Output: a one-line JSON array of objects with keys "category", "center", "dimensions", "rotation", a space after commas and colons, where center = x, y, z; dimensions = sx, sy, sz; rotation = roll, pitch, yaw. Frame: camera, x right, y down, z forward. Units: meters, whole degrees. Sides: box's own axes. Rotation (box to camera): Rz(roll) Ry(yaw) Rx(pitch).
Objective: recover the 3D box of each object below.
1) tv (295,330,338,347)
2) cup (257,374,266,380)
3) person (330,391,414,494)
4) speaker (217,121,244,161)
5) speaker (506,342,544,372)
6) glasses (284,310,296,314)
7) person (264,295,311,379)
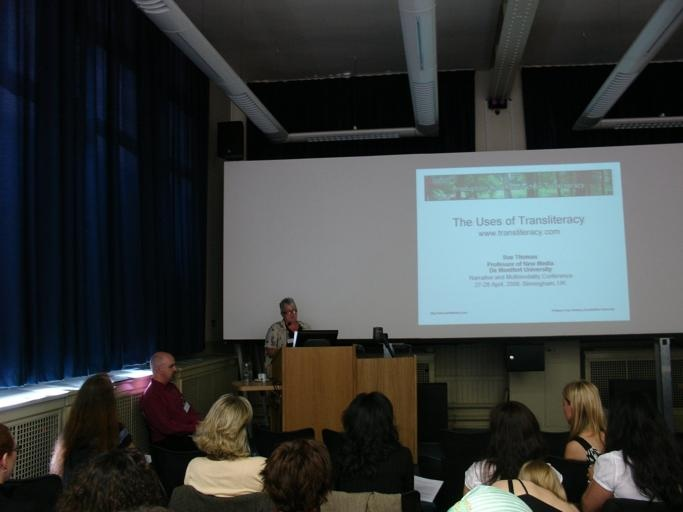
[{"category": "tv", "center": [-0.202, 0.682, 4.378], "dimensions": [0.352, 0.130, 0.345], "rotation": [2, -7, -7]}, {"category": "cup", "center": [-0.767, 1.147, 5.040], "dimensions": [0.052, 0.063, 0.060], "rotation": [-3, -5, 27]}, {"category": "person", "center": [0.178, 1.014, 3.136], "dimensions": [0.571, 0.785, 0.417], "rotation": [1, -6, 1]}, {"category": "speaker", "center": [-1.399, -1.420, 6.596], "dimensions": [0.337, 0.502, 0.230], "rotation": [2, -6, -6]}, {"category": "speaker", "center": [2.135, 1.173, 6.163], "dimensions": [0.463, 0.402, 0.277], "rotation": [0, 0, 9]}, {"category": "glasses", "center": [-0.520, 0.565, 5.446], "dimensions": [0.113, 0.050, 0.064], "rotation": [4, -7, -22]}, {"category": "person", "center": [-0.579, 0.841, 5.536], "dimensions": [0.439, 0.895, 1.378], "rotation": [2, -7, -8]}]
